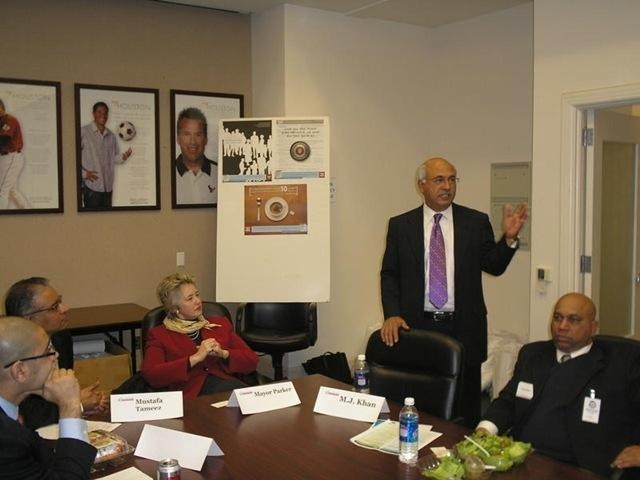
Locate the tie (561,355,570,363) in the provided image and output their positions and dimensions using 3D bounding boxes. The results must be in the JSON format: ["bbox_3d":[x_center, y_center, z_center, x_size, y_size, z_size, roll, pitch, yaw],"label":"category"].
[{"bbox_3d":[1.237,0.596,2.638,0.034,0.036,0.034,-2,2,-31],"label":"tie"}]

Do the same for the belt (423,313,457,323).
[{"bbox_3d":[0.763,0.493,3.363,0.183,0.069,0.032,1,13,7],"label":"belt"}]

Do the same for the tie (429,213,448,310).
[{"bbox_3d":[0.754,0.146,3.383,0.133,0.814,0.058,-2,38,11],"label":"tie"}]

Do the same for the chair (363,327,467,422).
[{"bbox_3d":[0.535,0.671,2.914,0.419,0.638,0.493,-2,-4,36],"label":"chair"}]

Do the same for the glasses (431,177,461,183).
[{"bbox_3d":[0.817,-0.397,3.357,0.186,0.040,0.070,-9,16,-29],"label":"glasses"}]

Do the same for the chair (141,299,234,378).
[{"bbox_3d":[-0.877,0.618,3.364,0.340,0.496,0.400,1,-7,-21],"label":"chair"}]

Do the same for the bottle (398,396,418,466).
[{"bbox_3d":[0.364,0.766,2.142,0.082,0.203,0.252,2,14,11],"label":"bottle"}]
